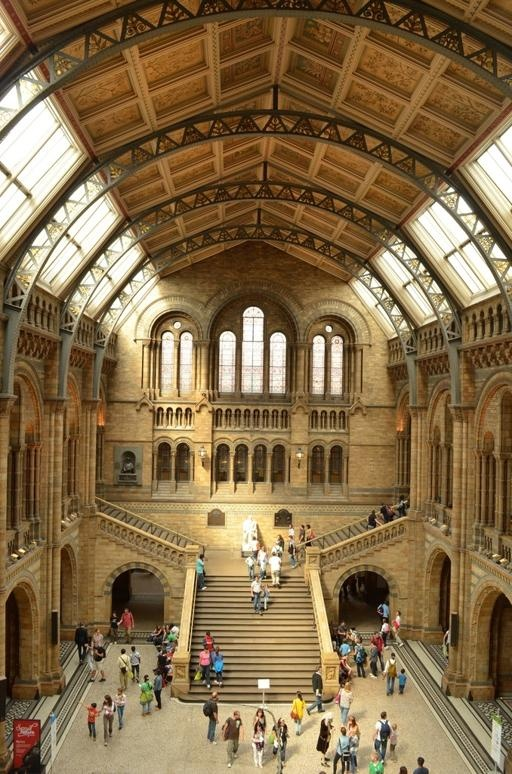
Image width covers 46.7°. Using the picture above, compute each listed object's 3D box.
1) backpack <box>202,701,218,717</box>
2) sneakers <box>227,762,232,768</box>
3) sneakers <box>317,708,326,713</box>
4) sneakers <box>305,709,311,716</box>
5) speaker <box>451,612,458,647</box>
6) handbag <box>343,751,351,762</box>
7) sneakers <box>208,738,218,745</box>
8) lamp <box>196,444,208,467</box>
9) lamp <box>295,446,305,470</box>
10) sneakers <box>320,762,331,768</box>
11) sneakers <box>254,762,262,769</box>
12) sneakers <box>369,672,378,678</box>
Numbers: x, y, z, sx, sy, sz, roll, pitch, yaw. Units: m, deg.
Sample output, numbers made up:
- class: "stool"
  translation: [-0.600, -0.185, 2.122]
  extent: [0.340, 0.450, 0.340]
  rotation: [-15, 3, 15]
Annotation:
- class: "backpack"
  translation: [-1.196, 8.287, 15.292]
  extent: [0.287, 0.467, 0.286]
  rotation: [2, -6, 0]
- class: "sneakers"
  translation: [-0.647, 9.147, 14.365]
  extent: [0.091, 0.171, 0.093]
  rotation: [3, 27, 2]
- class: "sneakers"
  translation: [2.000, 9.937, 18.195]
  extent: [0.283, 0.123, 0.092]
  rotation: [-1, -4, -12]
- class: "sneakers"
  translation: [1.539, 9.765, 17.853]
  extent: [0.097, 0.130, 0.286]
  rotation: [2, -6, 0]
- class: "speaker"
  translation: [6.393, 7.851, 19.200]
  extent: [0.255, 1.082, 0.148]
  rotation: [-2, -7, 29]
- class: "handbag"
  translation: [2.093, 8.480, 13.647]
  extent: [0.158, 0.280, 0.159]
  rotation: [0, -7, 13]
- class: "sneakers"
  translation: [-1.120, 9.361, 15.663]
  extent: [0.231, 0.145, 0.081]
  rotation: [-12, -17, 42]
- class: "lamp"
  translation: [-2.695, 3.561, 30.412]
  extent: [0.526, 1.161, 0.414]
  rotation: [3, -6, -6]
- class: "lamp"
  translation: [2.217, 3.680, 30.763]
  extent: [0.443, 1.102, 0.579]
  rotation: [0, -7, 18]
- class: "sneakers"
  translation: [1.693, 9.233, 14.519]
  extent: [0.194, 0.104, 0.317]
  rotation: [2, -6, -5]
- class: "sneakers"
  translation: [0.064, 9.166, 14.389]
  extent: [0.166, 0.100, 0.156]
  rotation: [2, -6, -3]
- class: "sneakers"
  translation: [4.114, 10.234, 20.982]
  extent: [0.087, 0.187, 0.264]
  rotation: [5, -22, -13]
